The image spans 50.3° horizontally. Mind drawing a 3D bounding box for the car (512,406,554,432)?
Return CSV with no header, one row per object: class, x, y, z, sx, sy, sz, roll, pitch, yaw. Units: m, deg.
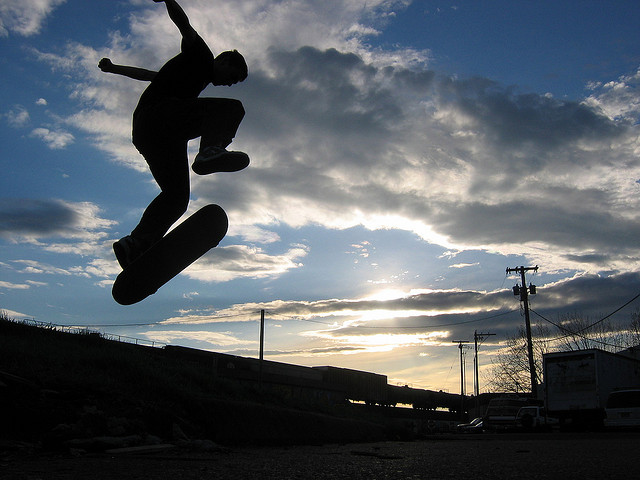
car,8.755,7.303,27.843,1.124,0.876,1.726,3,-14,-9
